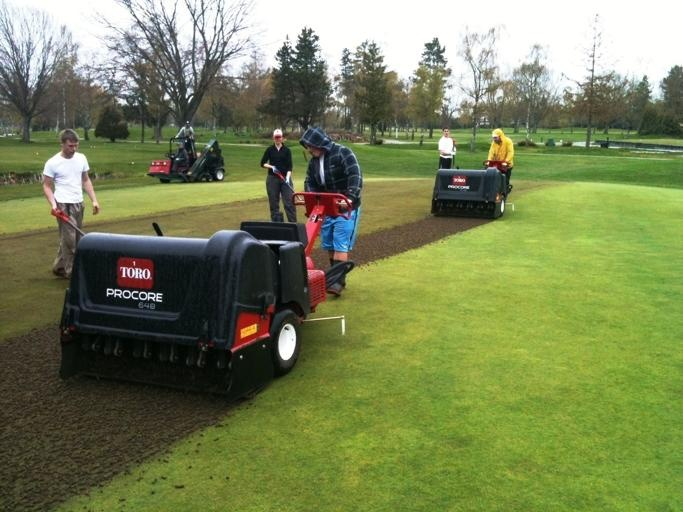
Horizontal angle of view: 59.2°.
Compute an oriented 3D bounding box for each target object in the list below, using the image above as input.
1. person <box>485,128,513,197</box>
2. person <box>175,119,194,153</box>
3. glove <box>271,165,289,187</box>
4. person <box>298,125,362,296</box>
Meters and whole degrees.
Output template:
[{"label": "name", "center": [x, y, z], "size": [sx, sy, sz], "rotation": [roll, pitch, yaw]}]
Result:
[{"label": "person", "center": [4.010, -2.298, 15.275], "size": [0.728, 1.819, 0.633], "rotation": [-17, 23, -30]}, {"label": "person", "center": [-7.106, -5.378, 27.604], "size": [0.651, 1.211, 2.335], "rotation": [-3, 12, -15]}, {"label": "glove", "center": [-1.291, -1.660, 12.508], "size": [0.210, 0.116, 0.501], "rotation": [-34, -52, 31]}, {"label": "person", "center": [-0.128, -0.591, 8.048], "size": [0.813, 2.216, 1.022], "rotation": [-1, 11, -6]}]
